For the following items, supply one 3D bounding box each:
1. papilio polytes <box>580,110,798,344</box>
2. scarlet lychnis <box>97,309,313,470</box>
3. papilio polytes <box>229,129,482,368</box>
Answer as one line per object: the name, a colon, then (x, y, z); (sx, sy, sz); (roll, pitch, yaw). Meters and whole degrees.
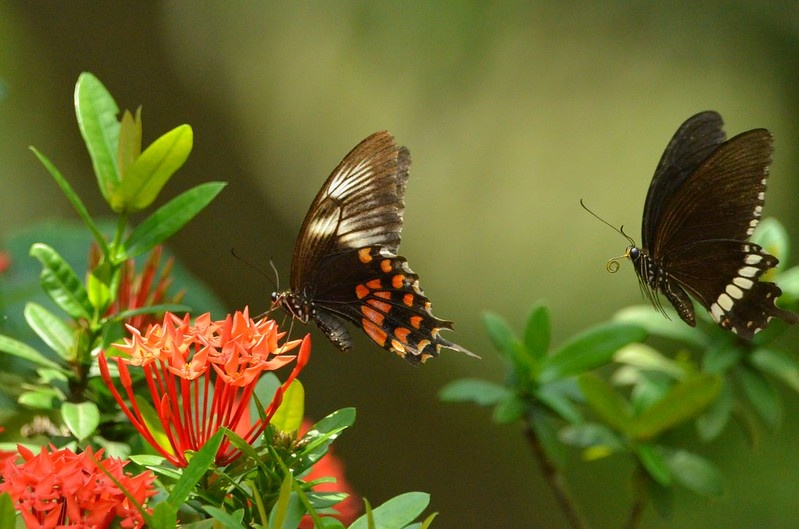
papilio polytes: (0.602, -0.056, 1.718); (0.375, 0.525, 0.407); (0, -14, 4)
scarlet lychnis: (-0.365, 0.185, 1.440); (0.323, 0.286, 0.310); (8, -1, -12)
papilio polytes: (-0.069, -0.011, 1.533); (0.331, 0.554, 0.434); (-2, 8, 6)
